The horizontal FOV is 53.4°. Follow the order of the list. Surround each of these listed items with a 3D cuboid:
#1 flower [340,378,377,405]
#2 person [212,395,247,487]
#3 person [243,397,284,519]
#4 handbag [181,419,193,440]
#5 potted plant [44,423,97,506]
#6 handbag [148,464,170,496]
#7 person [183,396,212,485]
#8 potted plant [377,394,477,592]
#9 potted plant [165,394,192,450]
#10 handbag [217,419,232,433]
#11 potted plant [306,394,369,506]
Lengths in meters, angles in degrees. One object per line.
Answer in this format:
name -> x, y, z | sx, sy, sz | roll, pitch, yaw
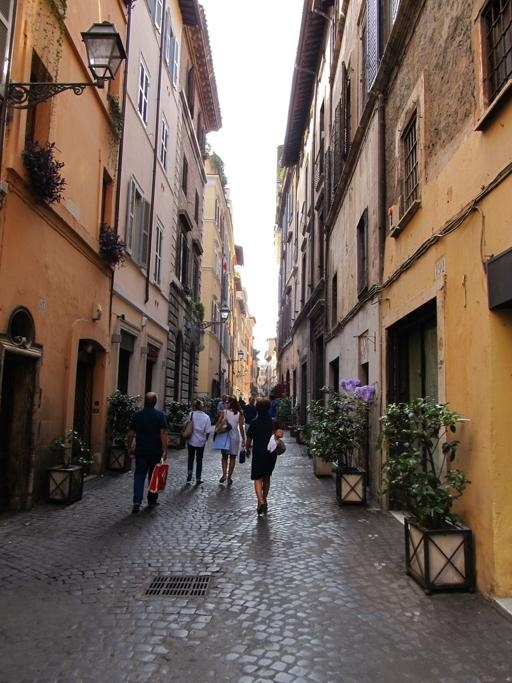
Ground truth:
flower -> 1.774, 0.820, 8.687 | 0.309, 0.331, 0.452 | 8, -16, 6
person -> -0.540, 2.036, 10.218 | 0.506, 1.820, 0.610 | -3, -32, 8
person -> 0.107, 1.682, 7.493 | 0.536, 1.614, 0.962 | 1, -7, -1
handbag -> -1.310, 1.707, 9.708 | 0.167, 0.389, 0.461 | 1, -8, -8
potted plant -> -2.780, 1.954, 7.997 | 0.467, 1.043, 0.477 | -3, -9, -33
handbag -> -1.398, 1.982, 7.171 | 0.246, 0.463, 0.371 | 2, -8, -15
person -> -1.214, 2.033, 10.411 | 0.487, 1.652, 1.895 | 1, -8, -6
potted plant -> 1.482, 1.396, 4.199 | 0.428, 1.304, 0.712 | 2, -21, -8
potted plant -> -2.718, 2.726, 16.421 | 0.700, 1.341, 1.004 | 16, -9, 11
handbag -> -0.651, 1.712, 10.045 | 0.292, 0.268, 0.113 | -1, -7, 14
potted plant -> 1.496, 1.751, 8.739 | 1.141, 2.706, 1.252 | 0, 0, -3
